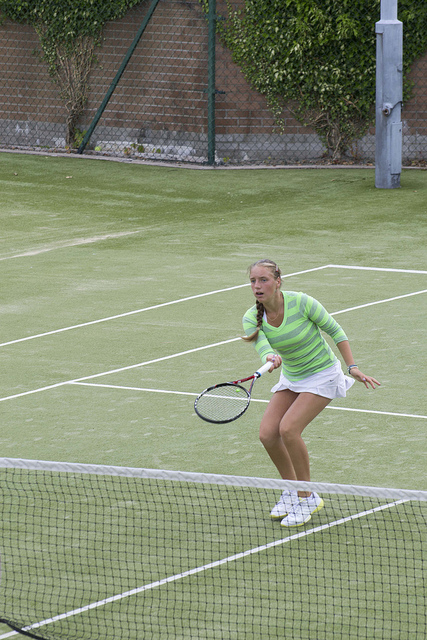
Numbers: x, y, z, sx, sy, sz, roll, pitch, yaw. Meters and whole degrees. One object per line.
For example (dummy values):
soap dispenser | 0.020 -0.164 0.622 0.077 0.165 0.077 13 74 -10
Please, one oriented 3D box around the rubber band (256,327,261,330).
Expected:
rubber band | 0.249 0.052 6.344 0.020 0.010 0.012 5 0 -8

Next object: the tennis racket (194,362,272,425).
tennis racket | 0.048 0.457 6.479 0.239 0.044 0.642 17 37 40

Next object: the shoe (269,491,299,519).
shoe | 0.390 1.021 6.254 0.086 0.097 0.254 2 13 34

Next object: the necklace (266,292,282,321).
necklace | 0.341 -0.066 6.332 0.080 0.150 0.032 0 6 3

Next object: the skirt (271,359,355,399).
skirt | 0.565 0.347 6.472 0.456 0.213 0.248 0 5 5

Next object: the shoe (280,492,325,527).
shoe | 0.488 1.037 6.255 0.134 0.150 0.304 2 5 24
